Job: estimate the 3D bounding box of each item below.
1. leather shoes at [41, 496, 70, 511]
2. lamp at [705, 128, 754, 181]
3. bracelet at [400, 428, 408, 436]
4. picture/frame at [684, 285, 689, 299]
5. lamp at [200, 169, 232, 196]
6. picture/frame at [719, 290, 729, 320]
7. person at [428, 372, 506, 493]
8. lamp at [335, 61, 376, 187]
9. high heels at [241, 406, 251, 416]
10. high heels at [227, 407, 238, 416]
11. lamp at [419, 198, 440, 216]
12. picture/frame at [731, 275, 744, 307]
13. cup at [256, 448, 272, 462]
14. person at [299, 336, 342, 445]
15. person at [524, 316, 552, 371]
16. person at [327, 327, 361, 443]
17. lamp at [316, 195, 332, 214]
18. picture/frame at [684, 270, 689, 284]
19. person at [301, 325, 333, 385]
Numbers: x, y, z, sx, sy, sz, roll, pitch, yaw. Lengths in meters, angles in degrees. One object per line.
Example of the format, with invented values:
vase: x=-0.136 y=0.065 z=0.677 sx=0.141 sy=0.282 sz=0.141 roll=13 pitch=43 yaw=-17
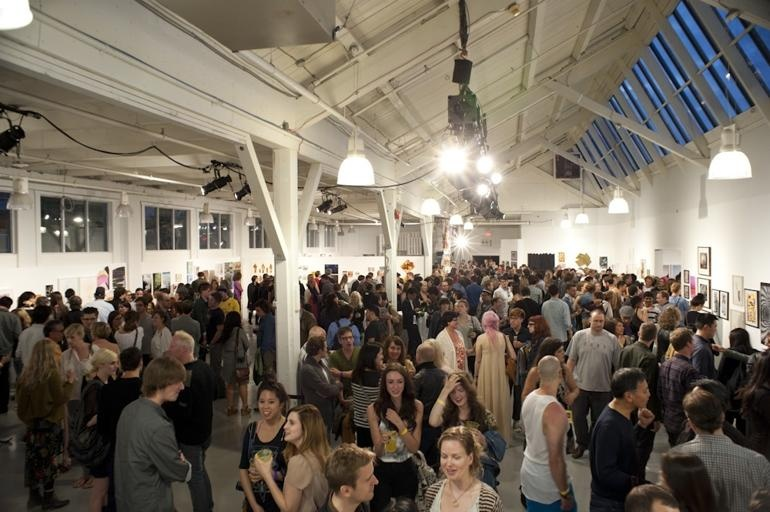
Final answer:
leather shoes: x=-4.051 y=3.074 z=6.551 sx=0.342 sy=0.176 sz=0.130 roll=1 pitch=0 yaw=-11
lamp: x=4.760 y=-1.456 z=7.298 sx=0.571 sy=0.751 sz=0.580 roll=-2 pitch=8 yaw=8
bracelet: x=0.198 y=1.809 z=5.444 sx=0.083 sy=0.074 sz=0.023 roll=0 pitch=-2 yaw=-19
picture/frame: x=7.991 y=0.946 z=13.964 sx=0.031 sy=0.325 sz=0.315 roll=4 pitch=-2 yaw=23
lamp: x=-3.964 y=-1.741 z=12.320 sx=0.827 sy=0.523 sz=0.432 roll=-12 pitch=29 yaw=-8
picture/frame: x=7.520 y=1.087 z=11.675 sx=0.048 sy=0.695 sz=0.664 roll=2 pitch=-1 yaw=20
person: x=0.914 y=2.089 z=5.589 sx=0.752 sy=1.700 sz=0.532 roll=-6 pitch=-1 yaw=12
lamp: x=-0.334 y=-1.182 z=6.071 sx=0.408 sy=0.789 sz=0.433 roll=1 pitch=4 yaw=31
high heels: x=-2.418 y=2.696 z=9.167 sx=0.091 sy=0.158 sz=0.153 roll=-8 pitch=-20 yaw=22
high heels: x=-2.649 y=2.691 z=9.164 sx=0.094 sy=0.116 sz=0.167 roll=3 pitch=5 yaw=41
lamp: x=0.928 y=-1.010 z=10.645 sx=0.287 sy=0.347 sz=0.758 roll=-1 pitch=-2 yaw=11
picture/frame: x=7.429 y=0.736 z=11.081 sx=0.029 sy=0.693 sz=0.672 roll=1 pitch=0 yaw=21
cup: x=-1.115 y=1.833 z=4.859 sx=0.137 sy=0.119 sz=0.103 roll=0 pitch=-2 yaw=-15
person: x=-0.902 y=1.976 z=7.207 sx=0.559 sy=1.764 sz=0.549 roll=-3 pitch=18 yaw=-22
person: x=2.234 y=1.206 z=7.599 sx=0.346 sy=0.782 sz=0.286 roll=-7 pitch=13 yaw=-4
person: x=-0.524 y=1.880 z=7.428 sx=0.573 sy=1.877 sz=0.574 roll=-5 pitch=18 yaw=-14
lamp: x=-1.686 y=-1.507 z=15.185 sx=0.345 sy=0.574 sz=1.273 roll=-1 pitch=-2 yaw=-5
picture/frame: x=8.056 y=0.558 z=14.072 sx=0.024 sy=0.360 sz=0.350 roll=2 pitch=1 yaw=20
person: x=-0.921 y=1.377 z=7.217 sx=0.339 sy=0.296 sz=0.748 roll=-5 pitch=41 yaw=6
